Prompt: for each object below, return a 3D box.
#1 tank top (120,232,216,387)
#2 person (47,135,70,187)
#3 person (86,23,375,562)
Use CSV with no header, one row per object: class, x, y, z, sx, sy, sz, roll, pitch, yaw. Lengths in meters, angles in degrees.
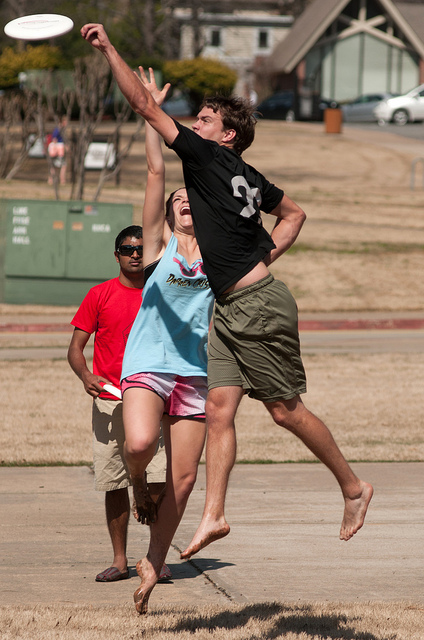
tank top,-0.196,-0.059,5.428,0.381,0.627,0.206,1,5,0
person,-3.147,-3.394,24.600,0.453,1.343,0.440,12,44,11
person,0.107,-0.132,5.392,1.136,2.281,0.596,-3,6,-33
